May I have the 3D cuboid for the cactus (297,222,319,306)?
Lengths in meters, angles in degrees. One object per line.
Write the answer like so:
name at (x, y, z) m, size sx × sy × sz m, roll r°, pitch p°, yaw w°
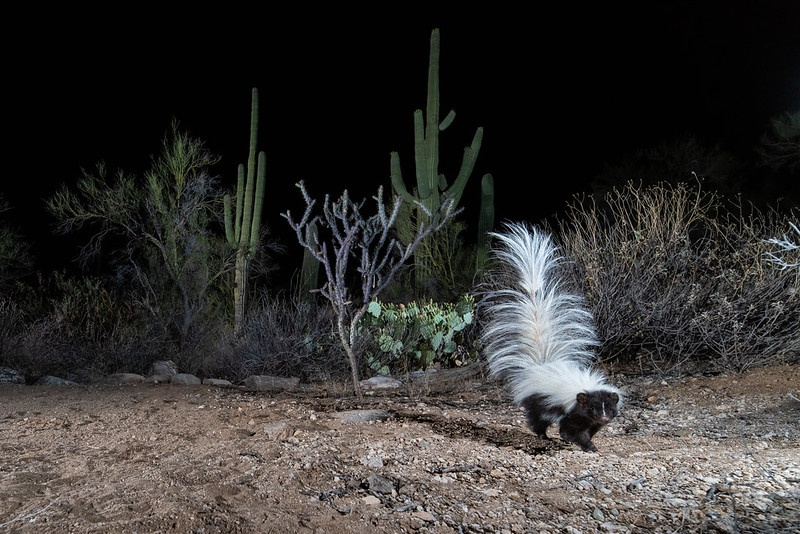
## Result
cactus at (-2.485, -0.113, 16.143) m, size 0.521 × 0.191 × 2.766 m, roll -7°, pitch -39°, yaw -12°

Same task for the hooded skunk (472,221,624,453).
hooded skunk at (1.898, 0.954, 7.336) m, size 1.276 × 2.324 × 3.105 m, roll -2°, pitch 12°, yaw -9°

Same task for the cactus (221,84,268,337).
cactus at (-4.055, -1.425, 14.689) m, size 1.102 × 6.203 × 0.568 m, roll 9°, pitch 15°, yaw 1°

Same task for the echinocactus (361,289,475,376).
echinocactus at (0.356, 1.359, 11.242) m, size 2.245 × 1.391 × 1.052 m, roll 0°, pitch 7°, yaw -6°
